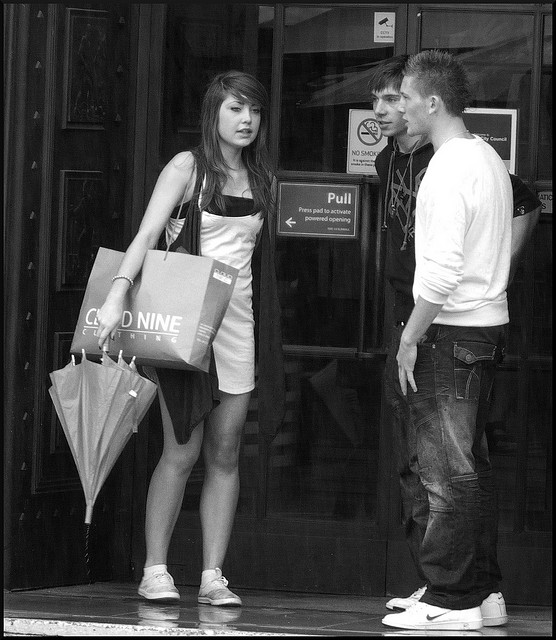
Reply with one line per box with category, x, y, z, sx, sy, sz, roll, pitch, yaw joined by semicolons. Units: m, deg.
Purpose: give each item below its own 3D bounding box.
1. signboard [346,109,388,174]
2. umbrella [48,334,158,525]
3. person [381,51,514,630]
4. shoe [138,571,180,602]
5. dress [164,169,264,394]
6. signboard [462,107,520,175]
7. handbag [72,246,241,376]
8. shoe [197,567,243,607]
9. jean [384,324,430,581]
signboard;0.358;-0.689;3.369;0.162;0.340;0.022;3;-29;9
umbrella;-0.609;0.404;2.700;0.329;0.615;0.327;-3;-22;2
person;0.552;0.109;2.705;0.347;1.853;0.561;5;5;39
shoe;-0.440;0.944;3.003;0.075;0.085;0.157;11;-12;-42
dress;-0.184;-0.051;3.002;0.107;0.645;0.267;6;5;42
signboard;0.815;-0.676;3.281;0.230;0.313;0.026;8;-27;5
handbag;-0.455;-0.007;2.880;0.481;0.469;0.192;0;-21;21
shoe;-0.231;0.961;3.033;0.078;0.143;0.213;19;-24;-36
jean;0.441;0.437;2.904;0.127;0.815;0.436;2;4;-6
